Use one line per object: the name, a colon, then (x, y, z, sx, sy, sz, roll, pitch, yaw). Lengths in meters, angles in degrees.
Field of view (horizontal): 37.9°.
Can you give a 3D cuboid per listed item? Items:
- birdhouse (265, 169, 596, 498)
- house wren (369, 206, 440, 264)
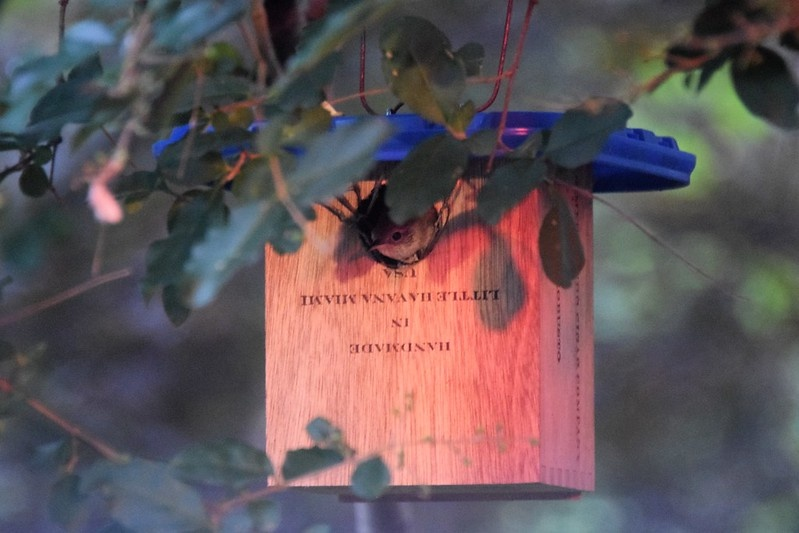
birdhouse: (-0.010, 0.040, 1.717, 0.391, 0.380, 0.205, -1, 13, -13)
house wren: (0.008, -0.039, 1.621, 0.107, 0.074, 0.039, -13, 42, -16)
